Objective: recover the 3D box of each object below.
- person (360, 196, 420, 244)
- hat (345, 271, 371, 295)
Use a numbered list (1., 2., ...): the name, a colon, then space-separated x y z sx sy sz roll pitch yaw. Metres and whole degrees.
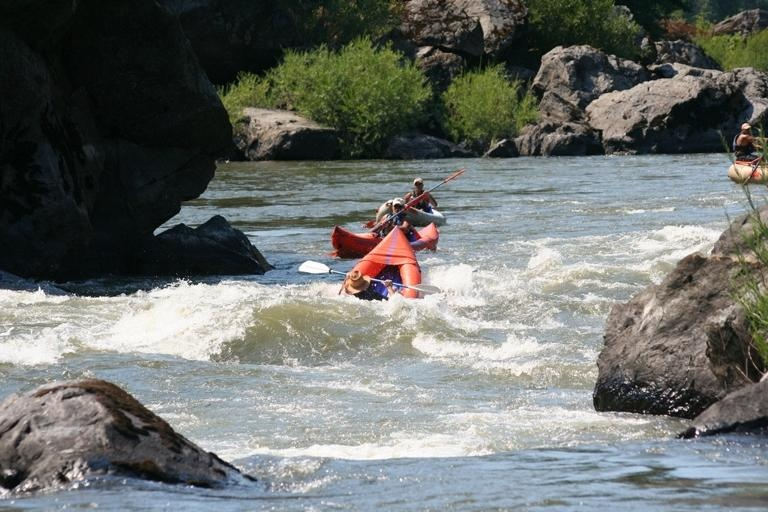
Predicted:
1. person: 0.353 -0.848 44.569 1.000 1.363 0.575 24 3 0
2. hat: -0.666 0.632 40.419 0.557 0.221 0.570 -12 39 14
